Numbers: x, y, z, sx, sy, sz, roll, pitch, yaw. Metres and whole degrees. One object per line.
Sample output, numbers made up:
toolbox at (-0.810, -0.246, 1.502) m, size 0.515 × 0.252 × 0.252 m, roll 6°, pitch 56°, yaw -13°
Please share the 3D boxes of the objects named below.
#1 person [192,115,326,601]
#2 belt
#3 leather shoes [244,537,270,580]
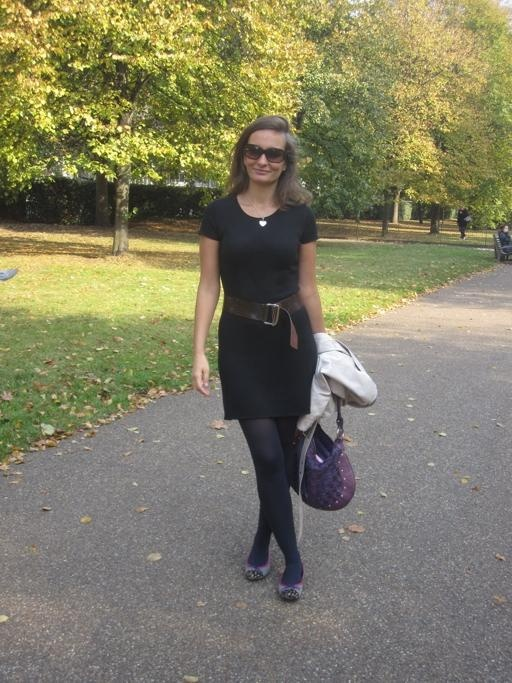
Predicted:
person at (0.006, 0.070, 2.444) m, size 0.536 × 2.086 × 0.402 m, roll 3°, pitch 9°, yaw 9°
belt at (0.034, -0.113, 2.329) m, size 0.251 × 0.190 × 0.246 m, roll -7°, pitch 12°, yaw -37°
leather shoes at (0.011, 1.033, 2.669) m, size 0.071 × 0.093 × 0.228 m, roll 0°, pitch 2°, yaw 8°
